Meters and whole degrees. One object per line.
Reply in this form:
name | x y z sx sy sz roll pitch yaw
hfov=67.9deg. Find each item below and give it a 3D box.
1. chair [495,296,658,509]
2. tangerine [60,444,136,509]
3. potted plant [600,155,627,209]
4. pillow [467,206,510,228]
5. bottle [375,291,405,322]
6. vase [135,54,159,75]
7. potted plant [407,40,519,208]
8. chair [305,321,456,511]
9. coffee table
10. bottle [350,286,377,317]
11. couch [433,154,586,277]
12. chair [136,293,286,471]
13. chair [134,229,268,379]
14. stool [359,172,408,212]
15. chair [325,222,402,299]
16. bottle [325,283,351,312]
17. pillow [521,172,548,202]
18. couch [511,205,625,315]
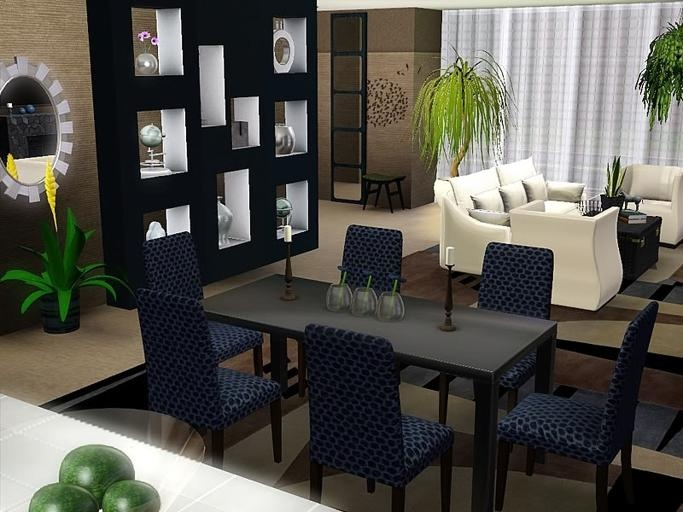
chair | 1.212 0.797 2.653 0.733 1.139 0.520 4 17 19
tangerine | -0.447 0.378 0.912 0.087 0.061 0.105 -1 10 -11
potted plant | 3.688 -0.953 6.863 0.327 0.796 0.243 1 3 20
pillow | 1.713 -0.450 5.921 0.477 0.182 0.212 4 17 17
bottle | 0.289 0.299 3.082 0.156 0.157 0.162 2 6 37
vase | -2.022 -2.035 5.292 0.218 0.242 0.493 -7 18 -18
potted plant | 1.830 -2.079 8.159 1.235 1.855 1.346 -21 33 -25
chair | 0.169 0.650 2.311 0.647 0.747 0.321 -3 16 -5
coffee table | 3.490 -0.090 6.387 0.847 0.567 0.871 3 11 37
bottle | 0.138 0.280 3.162 0.152 0.154 0.156 -3 11 -11
couch | 2.458 -0.603 7.009 0.886 1.215 2.795 11 20 41
chair | -0.761 0.701 2.964 0.587 1.156 0.675 -3 1 40
chair | -0.987 0.546 3.525 0.439 0.883 0.507 5 24 18
stool | 0.775 -1.187 9.280 0.670 0.626 0.578 7 17 28
chair | 0.245 -0.066 4.110 0.562 0.845 0.488 6 12 20
bottle | -0.017 0.259 3.239 0.155 0.155 0.154 -9 14 -35
pillow | 2.762 -1.004 7.316 0.192 0.416 0.562 12 20 43
couch | 2.388 -0.171 5.745 1.362 1.407 0.986 6 15 39
